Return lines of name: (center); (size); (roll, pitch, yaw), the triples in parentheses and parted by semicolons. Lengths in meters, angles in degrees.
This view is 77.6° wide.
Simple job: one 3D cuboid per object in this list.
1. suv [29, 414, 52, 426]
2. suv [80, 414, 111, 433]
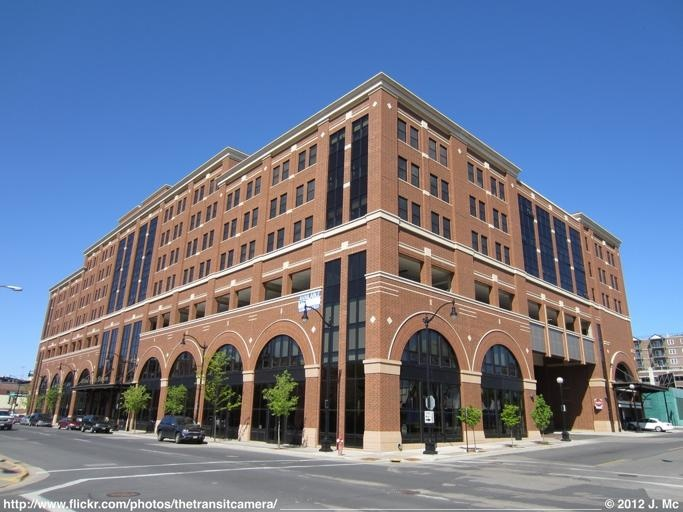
suv: (-43.427, 23.716, 61.347); (3.712, 1.696, 1.834); (-16, -27, 36)
suv: (-28.813, 19.717, 49.839); (5.111, 1.812, 1.940); (-19, -29, 41)
